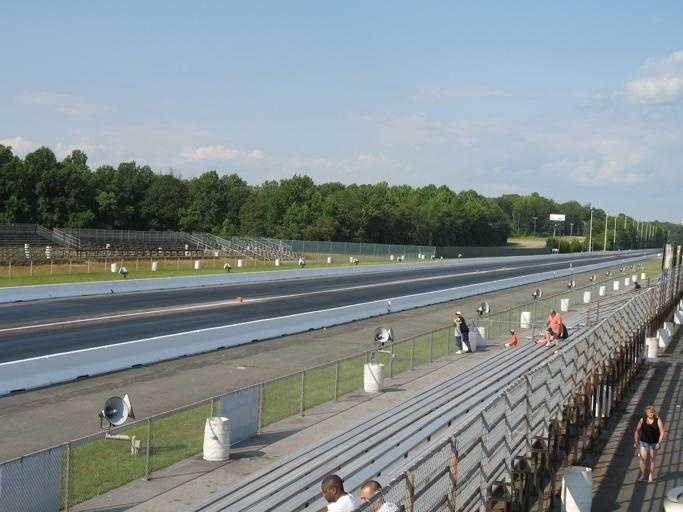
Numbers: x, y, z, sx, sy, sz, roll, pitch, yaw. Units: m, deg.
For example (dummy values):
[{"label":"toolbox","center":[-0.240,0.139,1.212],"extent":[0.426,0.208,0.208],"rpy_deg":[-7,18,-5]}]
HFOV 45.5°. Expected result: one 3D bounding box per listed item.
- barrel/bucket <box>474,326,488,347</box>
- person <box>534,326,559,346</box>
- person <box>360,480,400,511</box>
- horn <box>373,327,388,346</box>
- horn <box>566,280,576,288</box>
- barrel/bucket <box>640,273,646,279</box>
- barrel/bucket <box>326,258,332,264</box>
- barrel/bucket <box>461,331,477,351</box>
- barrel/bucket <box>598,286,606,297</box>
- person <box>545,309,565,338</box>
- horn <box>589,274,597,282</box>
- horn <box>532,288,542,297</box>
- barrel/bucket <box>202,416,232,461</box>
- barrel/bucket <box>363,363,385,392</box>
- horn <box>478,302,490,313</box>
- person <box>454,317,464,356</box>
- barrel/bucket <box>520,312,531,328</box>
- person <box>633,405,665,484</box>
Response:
[{"label":"barrel/bucket","center":[6.339,3.695,37.413],"extent":[0.706,0.852,0.718],"rpy_deg":[-1,3,0]},{"label":"person","center":[8.560,3.385,34.091],"extent":[0.709,1.025,2.141],"rpy_deg":[-2,0,11]},{"label":"person","center":[0.714,4.421,14.903],"extent":[0.698,0.497,1.073],"rpy_deg":[-1,3,2]},{"label":"horn","center":[1.499,3.123,30.840],"extent":[0.654,0.706,0.777],"rpy_deg":[10,-18,0]},{"label":"horn","center":[17.861,2.186,63.649],"extent":[0.333,0.303,0.890],"rpy_deg":[-1,-20,10]},{"label":"barrel/bucket","center":[26.349,1.742,71.531],"extent":[0.248,0.497,0.517],"rpy_deg":[2,2,28]},{"label":"barrel/bucket","center":[-1.239,0.486,85.553],"extent":[0.568,0.703,0.597],"rpy_deg":[0,4,0]},{"label":"barrel/bucket","center":[5.770,3.787,36.439],"extent":[0.613,0.867,0.864],"rpy_deg":[0,-6,4]},{"label":"barrel/bucket","center":[18.470,2.497,57.876],"extent":[0.339,0.704,0.929],"rpy_deg":[0,3,11]},{"label":"person","center":[8.668,2.734,32.972],"extent":[0.682,1.161,0.839],"rpy_deg":[0,3,14]},{"label":"horn","center":[22.105,1.944,72.016],"extent":[0.578,0.196,0.572],"rpy_deg":[-32,4,-26]},{"label":"horn","center":[12.814,2.414,53.599],"extent":[0.755,0.627,0.411],"rpy_deg":[-3,40,-6]},{"label":"barrel/bucket","center":[-3.351,4.929,21.910],"extent":[0.710,1.155,0.361],"rpy_deg":[-1,3,-2]},{"label":"barrel/bucket","center":[1.263,4.278,28.643],"extent":[0.822,0.954,0.880],"rpy_deg":[1,3,0]},{"label":"horn","center":[7.878,2.880,45.189],"extent":[0.603,0.856,0.317],"rpy_deg":[7,4,39]},{"label":"person","center":[5.132,3.469,35.715],"extent":[0.370,1.562,0.707],"rpy_deg":[-1,3,2]},{"label":"barrel/bucket","center":[9.373,3.269,41.616],"extent":[0.528,0.810,2.434],"rpy_deg":[0,3,13]},{"label":"person","center":[8.503,5.195,22.548],"extent":[0.644,1.945,0.987],"rpy_deg":[0,3,20]}]
